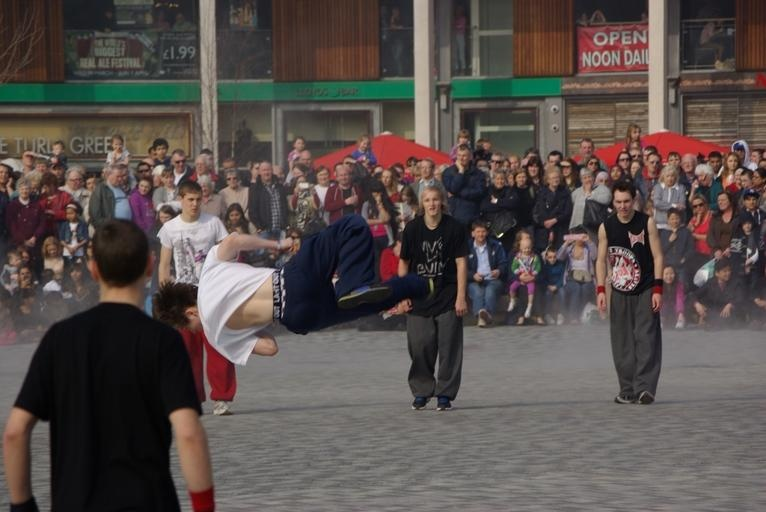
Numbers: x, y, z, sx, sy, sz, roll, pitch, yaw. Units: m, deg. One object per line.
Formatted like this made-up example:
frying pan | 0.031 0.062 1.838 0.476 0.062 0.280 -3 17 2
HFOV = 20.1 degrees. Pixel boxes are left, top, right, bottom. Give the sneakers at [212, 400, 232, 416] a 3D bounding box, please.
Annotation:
sneakers | -2.977 2.755 39.341 0.255 0.121 0.328 3 11 -6

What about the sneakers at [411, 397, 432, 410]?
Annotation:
sneakers | 0.637 2.682 39.505 0.147 0.160 0.400 3 10 17

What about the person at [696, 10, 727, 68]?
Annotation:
person | 9.083 -5.791 59.369 1.063 1.326 0.417 -3 6 -25

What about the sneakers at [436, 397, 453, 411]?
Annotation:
sneakers | 1.129 2.680 39.533 0.215 0.231 0.371 4 7 42

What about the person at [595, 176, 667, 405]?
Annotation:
person | 4.534 0.660 39.756 1.166 4.007 1.009 -1 5 5
